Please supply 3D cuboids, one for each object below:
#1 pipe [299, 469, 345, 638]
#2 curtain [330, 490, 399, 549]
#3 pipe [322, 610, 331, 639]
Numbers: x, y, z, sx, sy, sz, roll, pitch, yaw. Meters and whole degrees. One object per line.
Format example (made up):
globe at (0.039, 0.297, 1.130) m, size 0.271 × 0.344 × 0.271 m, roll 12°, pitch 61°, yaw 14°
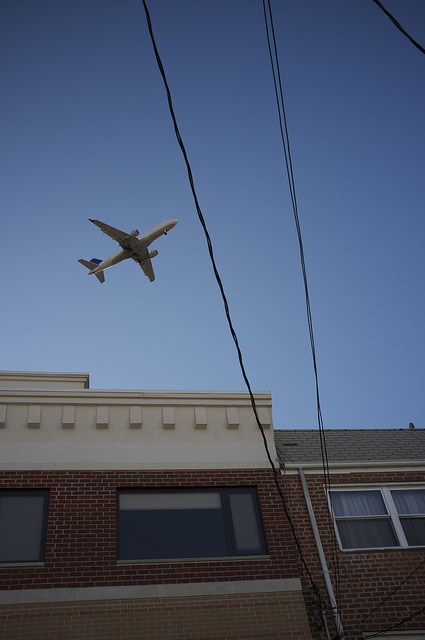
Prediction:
pipe at (2.037, 4.311, 10.898) m, size 0.274 × 3.142 × 0.259 m, roll 27°, pitch -57°, yaw -34°
curtain at (3.054, 4.111, 11.514) m, size 1.182 × 1.381 × 0.054 m, roll 0°, pitch -44°, yaw -11°
pipe at (1.938, 5.265, 9.724) m, size 0.050 × 0.403 × 0.050 m, roll -19°, pitch -10°, yaw 23°
